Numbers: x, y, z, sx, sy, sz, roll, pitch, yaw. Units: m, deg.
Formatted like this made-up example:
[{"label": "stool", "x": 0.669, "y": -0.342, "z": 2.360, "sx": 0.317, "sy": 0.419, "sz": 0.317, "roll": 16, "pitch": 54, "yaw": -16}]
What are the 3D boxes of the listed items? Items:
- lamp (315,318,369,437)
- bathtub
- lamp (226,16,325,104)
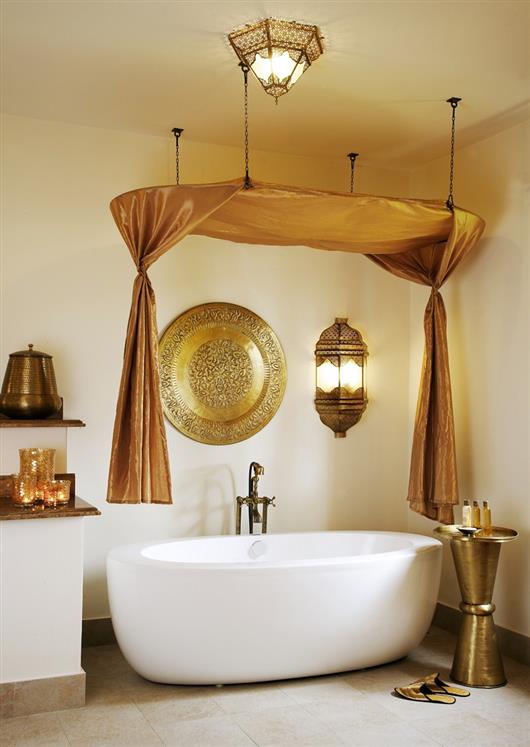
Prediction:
[{"label": "lamp", "x": 0.456, "y": 0.025, "z": 4.340, "sx": 0.292, "sy": 0.710, "sz": 0.176, "roll": 3, "pitch": -3, "yaw": -33}, {"label": "bathtub", "x": 0.061, "y": 1.091, "z": 3.438, "sx": 1.622, "sy": 0.556, "sz": 0.769, "roll": 2, "pitch": -2, "yaw": -18}, {"label": "lamp", "x": 0.043, "y": -1.242, "z": 2.845, "sx": 0.339, "sy": 0.181, "sz": 0.288, "roll": 0, "pitch": -4, "yaw": -41}]
